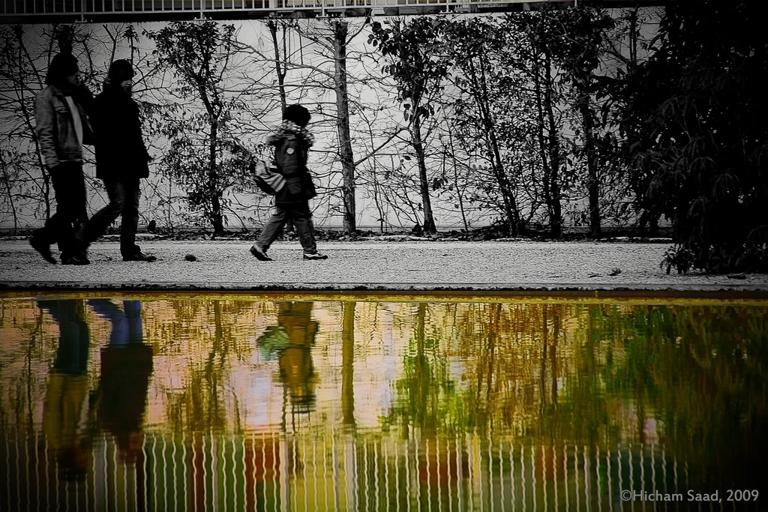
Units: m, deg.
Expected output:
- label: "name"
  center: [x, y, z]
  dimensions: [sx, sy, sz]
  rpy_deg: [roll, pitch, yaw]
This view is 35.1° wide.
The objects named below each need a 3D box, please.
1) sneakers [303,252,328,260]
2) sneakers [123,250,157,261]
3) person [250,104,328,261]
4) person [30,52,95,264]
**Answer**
- label: "sneakers"
  center: [-0.849, -0.026, 15.134]
  dimensions: [0.301, 0.117, 0.106]
  rpy_deg: [0, 4, 2]
- label: "sneakers"
  center: [-3.065, -0.002, 15.330]
  dimensions: [0.437, 0.178, 0.145]
  rpy_deg: [-3, -1, 4]
- label: "person"
  center: [-1.182, -0.932, 15.202]
  dimensions: [0.872, 1.940, 0.239]
  rpy_deg: [-1, -1, -3]
- label: "person"
  center: [-4.035, -1.233, 15.289]
  dimensions: [0.723, 2.638, 0.329]
  rpy_deg: [-1, -1, -13]
